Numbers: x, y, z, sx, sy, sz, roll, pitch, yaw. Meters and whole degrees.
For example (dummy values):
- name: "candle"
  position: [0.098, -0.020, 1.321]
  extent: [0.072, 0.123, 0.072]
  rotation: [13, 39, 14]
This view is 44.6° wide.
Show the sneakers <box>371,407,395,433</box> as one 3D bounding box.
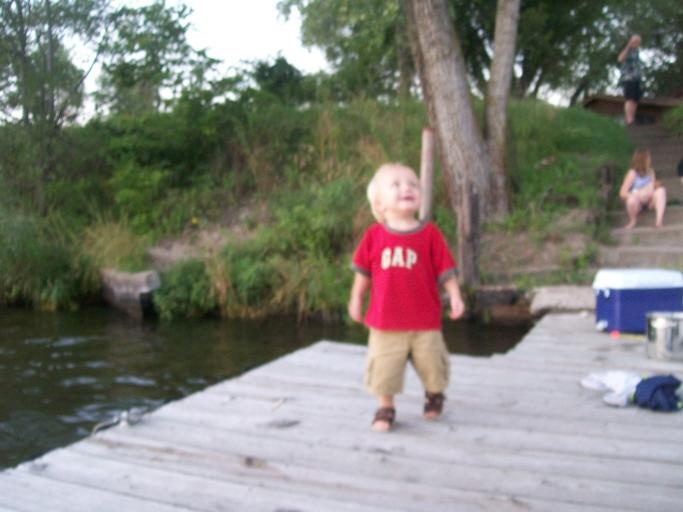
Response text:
- name: "sneakers"
  position: [0.380, 1.489, 7.577]
  extent: [0.137, 0.151, 0.350]
  rotation: [-1, -12, 5]

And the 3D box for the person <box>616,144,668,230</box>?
- name: "person"
  position: [4.645, -1.025, 12.800]
  extent: [0.845, 1.197, 0.598]
  rotation: [-4, 4, -42]
